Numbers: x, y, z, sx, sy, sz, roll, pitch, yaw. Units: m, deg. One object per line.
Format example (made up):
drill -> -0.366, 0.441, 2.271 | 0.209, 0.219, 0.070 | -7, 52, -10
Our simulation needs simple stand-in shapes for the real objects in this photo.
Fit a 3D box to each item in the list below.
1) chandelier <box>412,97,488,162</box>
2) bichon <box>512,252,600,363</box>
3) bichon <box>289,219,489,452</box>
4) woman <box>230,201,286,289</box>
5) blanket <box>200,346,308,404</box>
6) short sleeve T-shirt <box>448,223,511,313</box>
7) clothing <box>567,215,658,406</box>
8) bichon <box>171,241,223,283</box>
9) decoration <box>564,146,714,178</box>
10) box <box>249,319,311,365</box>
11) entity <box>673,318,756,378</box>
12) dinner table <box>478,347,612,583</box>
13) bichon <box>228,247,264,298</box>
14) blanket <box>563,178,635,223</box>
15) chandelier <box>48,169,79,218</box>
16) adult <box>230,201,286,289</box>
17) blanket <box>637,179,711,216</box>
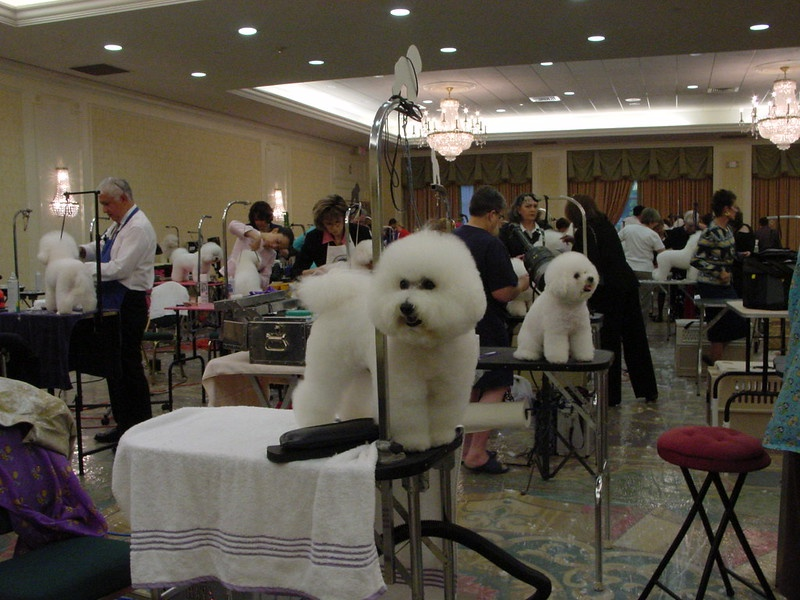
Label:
chandelier -> 0.816, -2.900, 11.396 | 1.096, 1.174, 1.111 | 14, 27, 39
bichon -> 0.887, 0.045, 3.898 | 0.459, 0.612, 0.511 | -3, 5, -28
bichon -> -0.049, 0.138, 2.388 | 0.693, 0.727, 0.368 | 6, 11, 43
woman -> -1.392, -0.419, 6.628 | 0.437, 1.073, 0.592 | 4, -6, 5
blanket -> -0.922, 0.484, 4.118 | 0.448, 0.247, 0.430 | 2, 5, 22
short sleeve T-shirt -> 0.395, -0.154, 3.318 | 0.170, 0.473, 0.464 | -19, 16, -18
clothing -> 1.860, 0.023, 6.088 | 0.517, 1.833, 0.477 | -11, 4, -21
bichon -> -2.590, -0.453, 8.708 | 0.699, 0.489, 0.291 | 2, 6, 21
decoration -> 5.340, -3.025, 15.321 | 3.052, 0.883, 0.301 | -4, 11, 14
box -> -0.689, 0.236, 3.885 | 0.315, 0.217, 0.330 | 2, 4, 10
entity -> 3.206, 0.525, 7.011 | 0.792, 0.697, 0.526 | -1, -1, 14
dinner table -> 0.889, 0.752, 4.123 | 0.758, 1.147, 1.800 | -3, 11, 14
bichon -> -1.347, -0.194, 6.068 | 0.199, 0.637, 0.311 | 3, -26, -11
blanket -> 4.673, -2.177, 15.536 | 1.397, 0.112, 1.561 | 2, 43, 10
chandelier -> -4.353, -1.375, 8.817 | 0.380, 0.702, 1.566 | -11, 12, -24
adult -> -1.399, -0.425, 6.657 | 0.455, 1.062, 0.562 | 6, -2, -2
blanket -> 6.131, -2.335, 15.485 | 0.983, 0.080, 1.089 | 4, -36, 14
